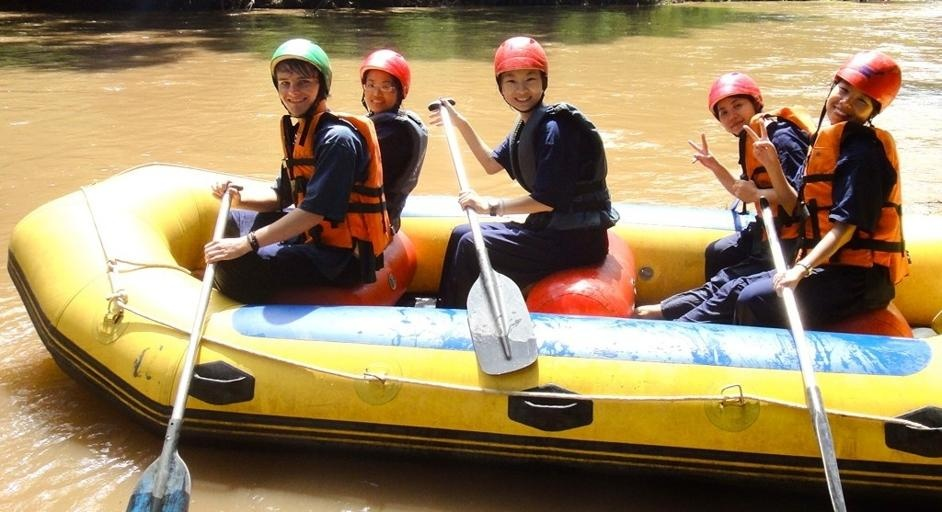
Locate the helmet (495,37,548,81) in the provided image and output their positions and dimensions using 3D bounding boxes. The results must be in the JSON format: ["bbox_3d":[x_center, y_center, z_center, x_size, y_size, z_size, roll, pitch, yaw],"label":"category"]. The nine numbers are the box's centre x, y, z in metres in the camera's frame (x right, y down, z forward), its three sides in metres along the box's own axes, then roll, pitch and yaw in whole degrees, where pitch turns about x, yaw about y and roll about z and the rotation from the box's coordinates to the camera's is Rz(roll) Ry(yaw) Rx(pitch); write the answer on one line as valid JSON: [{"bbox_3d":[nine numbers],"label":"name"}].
[{"bbox_3d":[0.385,-1.526,6.434,0.456,0.388,0.561,-1,21,8],"label":"helmet"}]

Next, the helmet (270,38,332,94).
[{"bbox_3d":[-1.236,-1.414,6.267,0.467,0.505,0.407,1,31,2],"label":"helmet"}]

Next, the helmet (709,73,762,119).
[{"bbox_3d":[2.146,-1.325,6.651,0.347,0.309,0.454,-13,8,29],"label":"helmet"}]

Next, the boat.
[{"bbox_3d":[-0.117,0.695,6.073,6.929,1.002,2.833,2,21,8],"label":"boat"}]

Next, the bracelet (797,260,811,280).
[{"bbox_3d":[2.335,0.096,5.736,0.136,0.117,0.053,5,-15,-37],"label":"bracelet"}]

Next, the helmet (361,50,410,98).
[{"bbox_3d":[-0.643,-1.548,6.929,0.366,0.459,0.226,10,64,15],"label":"helmet"}]
